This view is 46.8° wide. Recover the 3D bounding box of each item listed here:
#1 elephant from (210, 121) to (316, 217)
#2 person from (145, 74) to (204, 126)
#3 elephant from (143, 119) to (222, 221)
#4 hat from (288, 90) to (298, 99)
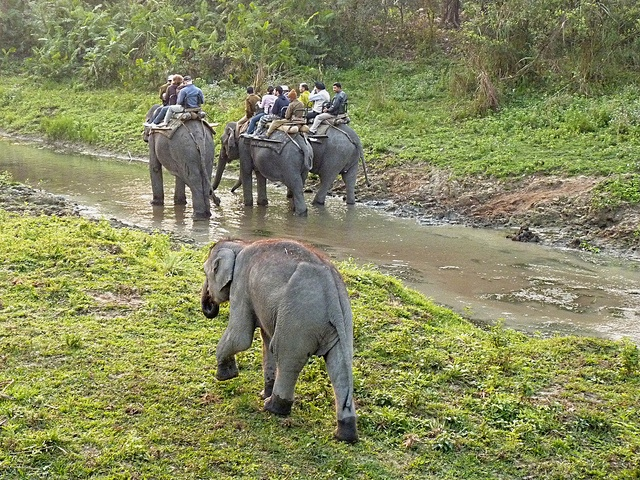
[{"bbox_3d":[-1.296,-1.513,15.546,2.917,1.794,1.114,9,11,40],"label":"elephant"},{"bbox_3d":[-2.815,-2.608,14.013,1.439,0.782,0.666,-5,7,42],"label":"person"},{"bbox_3d":[-2.558,-1.458,14.099,0.887,1.871,1.750,-5,16,-31],"label":"elephant"},{"bbox_3d":[-0.564,-2.945,14.906,0.174,0.196,0.217,-5,0,-13],"label":"hat"}]
